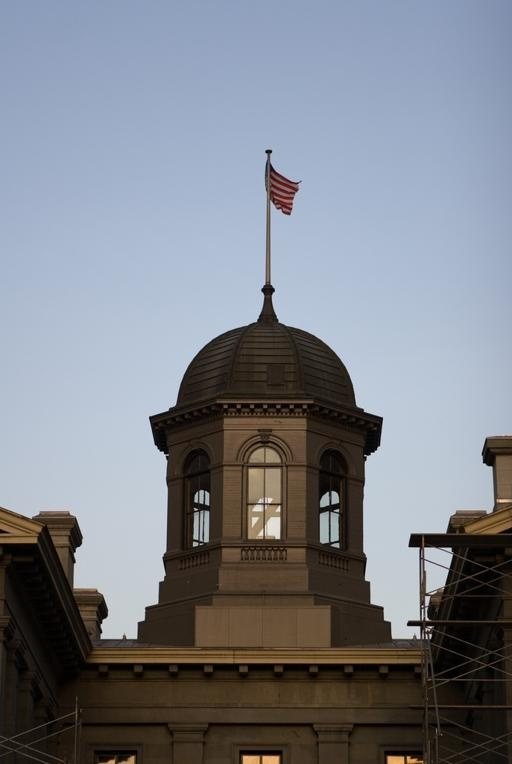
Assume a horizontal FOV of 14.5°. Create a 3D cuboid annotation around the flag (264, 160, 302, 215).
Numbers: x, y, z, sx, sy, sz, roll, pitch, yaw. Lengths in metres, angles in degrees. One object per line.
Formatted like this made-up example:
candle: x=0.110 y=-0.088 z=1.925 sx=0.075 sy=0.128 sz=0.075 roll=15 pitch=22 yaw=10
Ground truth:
flag: x=0.699 y=-5.681 z=57.573 sx=0.875 sy=2.105 sz=0.226 roll=-2 pitch=-35 yaw=8
